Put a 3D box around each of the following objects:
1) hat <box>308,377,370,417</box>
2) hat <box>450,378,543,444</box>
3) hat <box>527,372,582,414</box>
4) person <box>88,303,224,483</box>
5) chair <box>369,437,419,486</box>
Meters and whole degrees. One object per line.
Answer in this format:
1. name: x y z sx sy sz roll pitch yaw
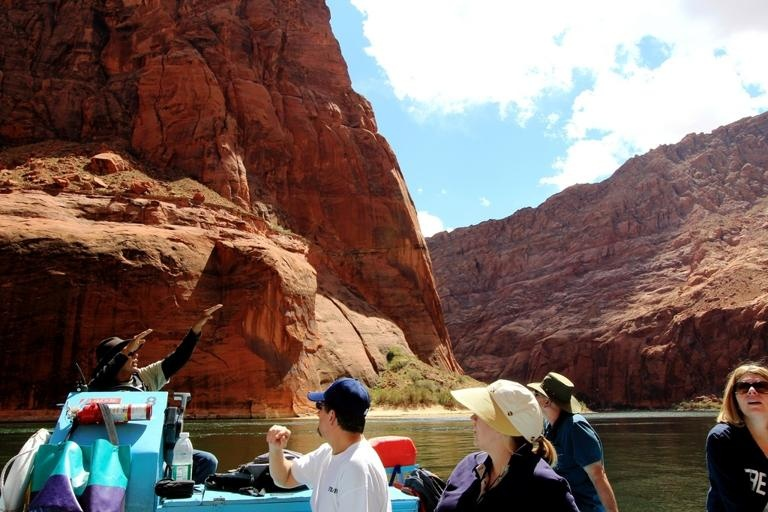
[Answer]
1. hat: -0.369 1.203 4.731 0.521 0.241 0.320 13 -2 17
2. hat: 0.955 1.191 4.408 0.656 0.239 0.468 26 14 3
3. hat: 1.910 1.462 6.067 0.524 0.518 0.660 5 -5 14
4. person: -2.733 1.322 6.558 1.330 2.389 1.181 1 -9 -17
5. chair: 0.152 2.173 6.032 0.472 0.523 0.593 0 -6 1
